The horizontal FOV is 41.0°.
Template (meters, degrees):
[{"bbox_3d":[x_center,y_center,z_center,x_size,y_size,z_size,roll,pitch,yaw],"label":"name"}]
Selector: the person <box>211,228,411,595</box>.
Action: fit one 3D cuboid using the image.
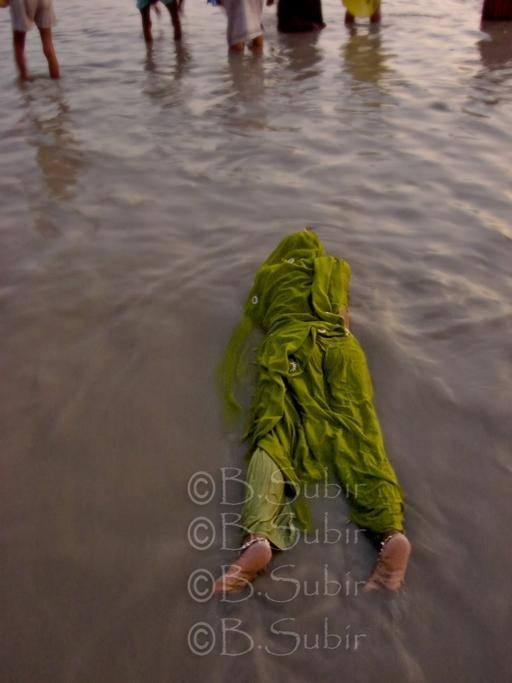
[{"bbox_3d":[0.188,0.150,3.326,0.825,0.512,2.015,-6,48,4],"label":"person"}]
